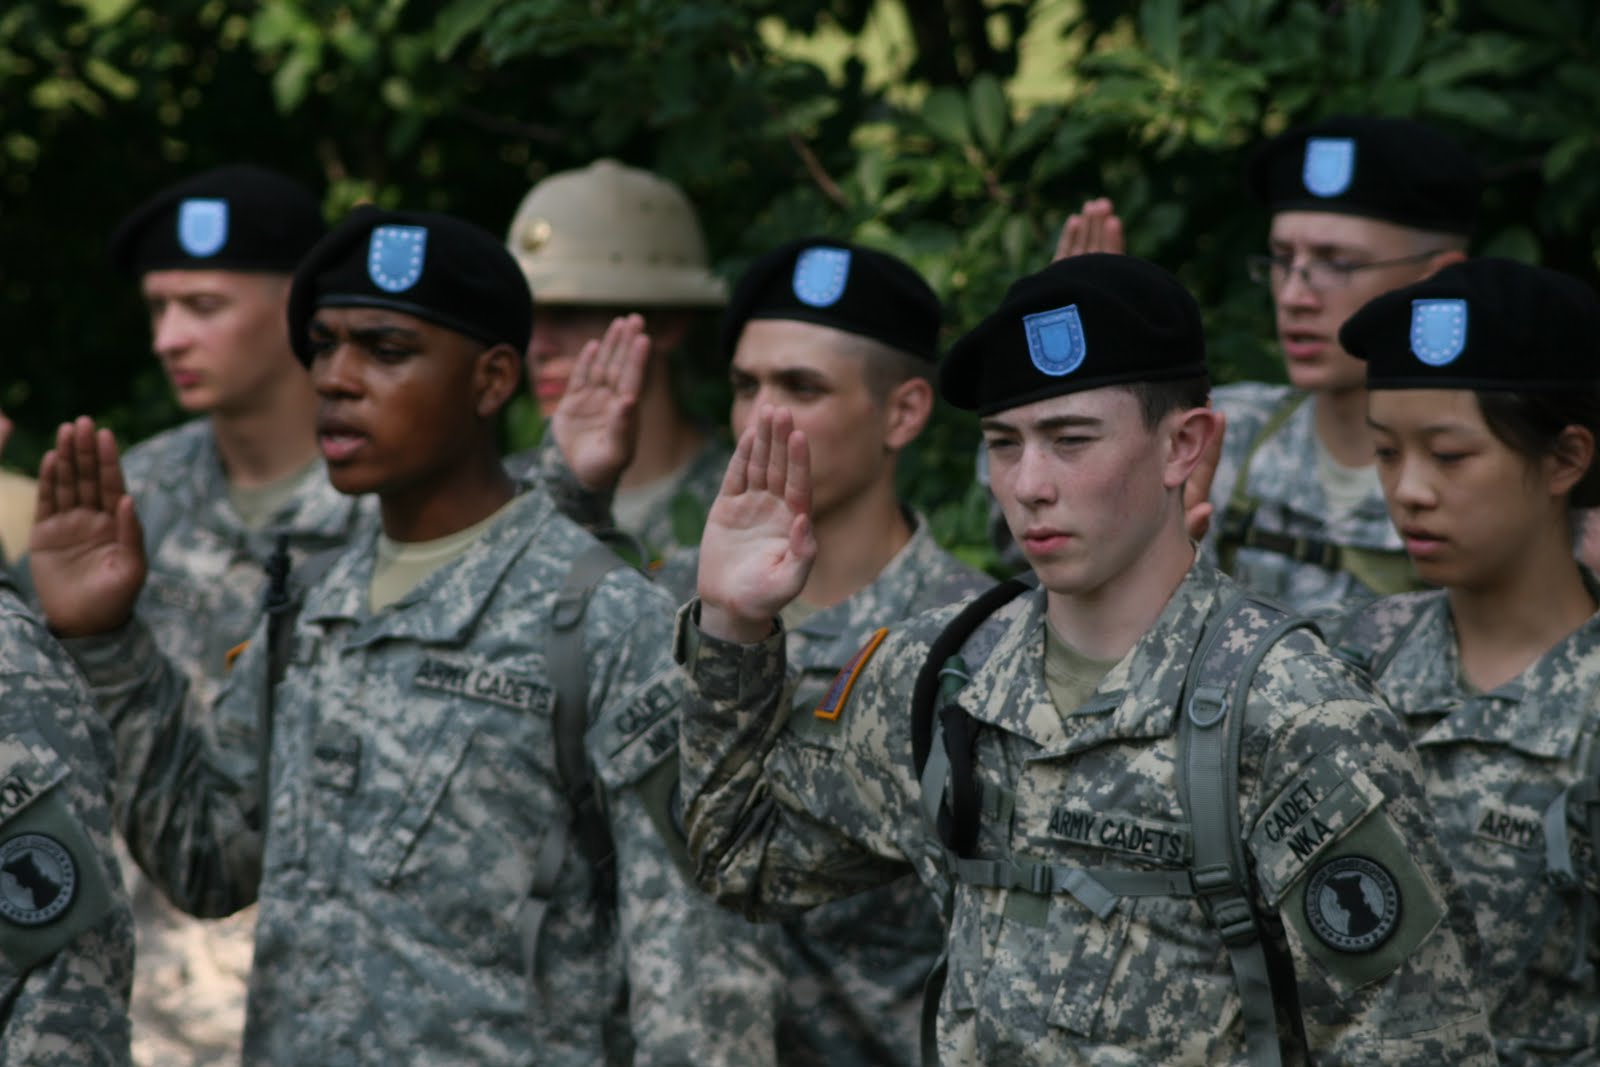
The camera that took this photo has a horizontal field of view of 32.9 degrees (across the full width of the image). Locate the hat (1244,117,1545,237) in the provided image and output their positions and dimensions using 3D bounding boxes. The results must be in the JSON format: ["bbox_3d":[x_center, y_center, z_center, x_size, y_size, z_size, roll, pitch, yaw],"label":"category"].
[{"bbox_3d":[2.031,-1.236,9.544,0.600,0.205,0.497,14,7,2],"label":"hat"}]

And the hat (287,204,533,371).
[{"bbox_3d":[-1.241,-0.750,8.490,0.575,0.355,0.453,3,2,-2],"label":"hat"}]

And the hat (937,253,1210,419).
[{"bbox_3d":[0.799,-0.556,7.777,0.609,0.295,0.454,2,-1,-5],"label":"hat"}]
